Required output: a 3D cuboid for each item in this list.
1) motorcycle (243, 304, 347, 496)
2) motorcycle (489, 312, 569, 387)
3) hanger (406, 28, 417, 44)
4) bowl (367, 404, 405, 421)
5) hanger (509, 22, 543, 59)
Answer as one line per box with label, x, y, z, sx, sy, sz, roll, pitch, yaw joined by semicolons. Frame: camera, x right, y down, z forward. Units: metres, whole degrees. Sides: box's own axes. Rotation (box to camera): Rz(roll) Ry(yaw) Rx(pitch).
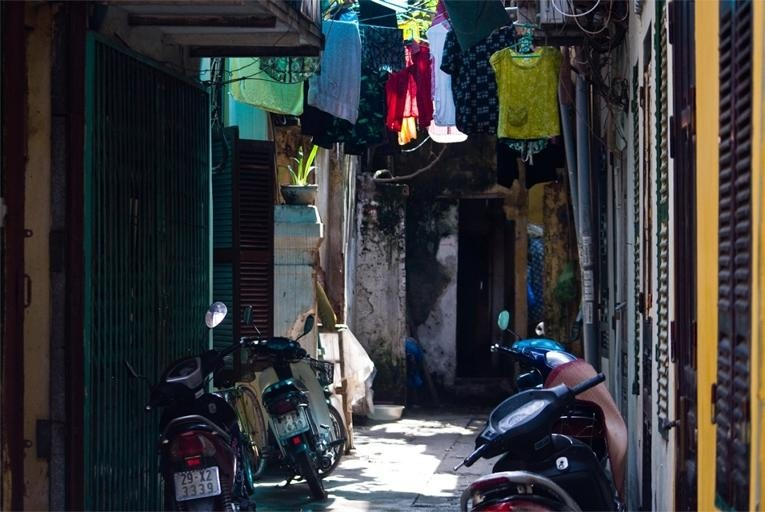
motorcycle;-0.732;1.216;9.610;0.645;1.638;1.273;1;3;15
motorcycle;1.122;0.685;8.417;0.591;0.502;0.382;-11;-9;40
hanger;0.274;-2.020;10.520;0.080;0.180;0.085;9;15;39
bowl;0.065;1.804;13.251;0.445;0.164;0.370;-1;3;-16
hanger;1.234;-1.864;9.805;0.198;0.324;0.317;1;-7;-1
